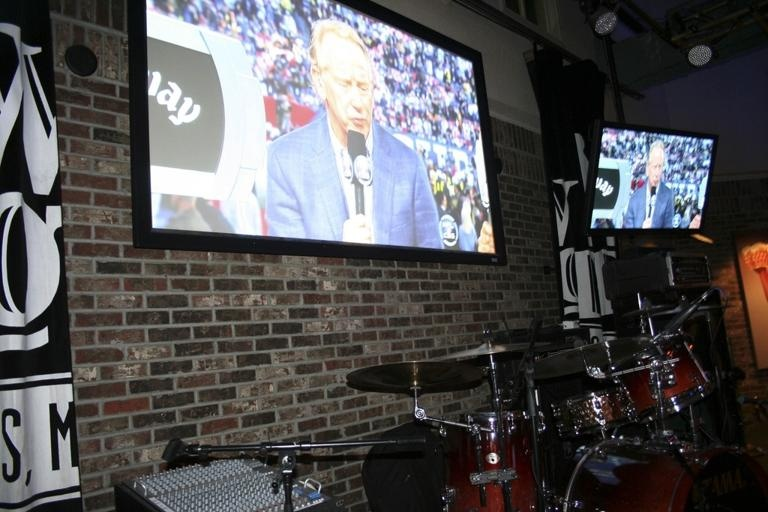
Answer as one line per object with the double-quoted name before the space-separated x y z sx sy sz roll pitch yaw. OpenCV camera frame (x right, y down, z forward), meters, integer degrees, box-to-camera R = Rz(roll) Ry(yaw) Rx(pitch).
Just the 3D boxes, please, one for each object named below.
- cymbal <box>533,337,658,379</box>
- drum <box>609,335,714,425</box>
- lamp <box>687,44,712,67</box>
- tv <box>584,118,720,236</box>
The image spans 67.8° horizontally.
"cymbal" 1.340 0.661 3.726 0.453 0.167 0.419 -20 -14 27
"drum" 1.883 0.862 3.921 0.594 0.426 0.511 -38 -16 8
"lamp" 3.223 -2.094 5.859 0.184 0.230 0.252 -13 -12 43
"tv" 2.454 -0.705 5.186 1.452 0.924 0.339 -1 -9 -23
